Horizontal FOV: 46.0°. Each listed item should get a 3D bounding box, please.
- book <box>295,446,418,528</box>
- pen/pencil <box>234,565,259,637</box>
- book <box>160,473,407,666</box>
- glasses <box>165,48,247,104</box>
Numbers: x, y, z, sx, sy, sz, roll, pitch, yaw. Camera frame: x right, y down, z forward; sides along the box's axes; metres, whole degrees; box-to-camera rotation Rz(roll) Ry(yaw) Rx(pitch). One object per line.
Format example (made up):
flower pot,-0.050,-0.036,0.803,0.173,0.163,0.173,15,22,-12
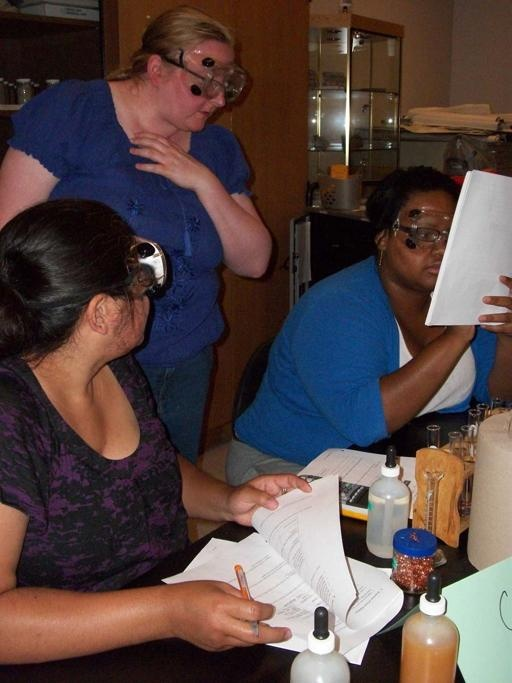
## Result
book,0.173,0.245,1.100,0.151,0.030,0.138,2,13,23
pen/pencil,-0.010,0.307,0.731,0.015,0.094,0.014,-20,4,-26
book,0.043,0.263,0.745,0.176,0.070,0.182,-40,26,-20
glasses,-0.124,-0.607,1.425,0.155,0.057,0.117,32,20,21
